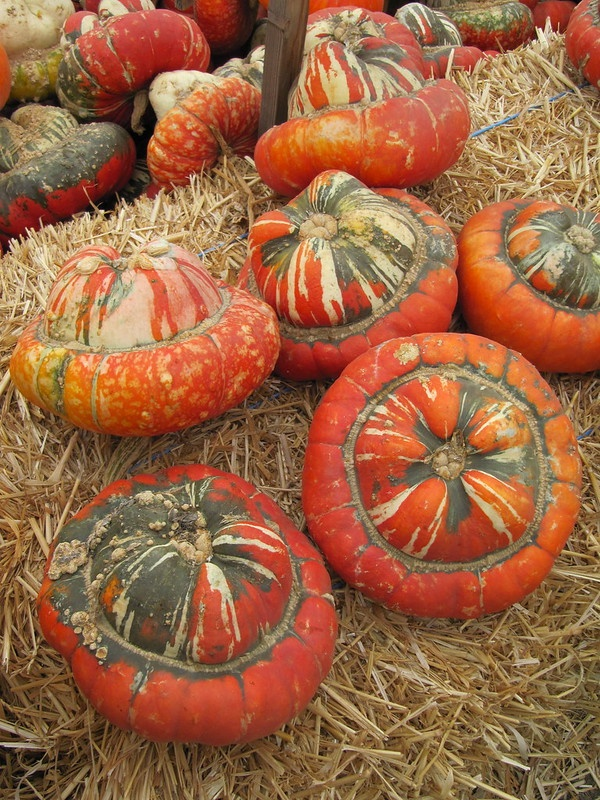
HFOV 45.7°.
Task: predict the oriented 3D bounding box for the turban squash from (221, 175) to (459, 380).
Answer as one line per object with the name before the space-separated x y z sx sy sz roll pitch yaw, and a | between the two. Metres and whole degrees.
turban squash | 0.133 -0.277 1.750 0.541 0.201 0.488 -23 74 -4

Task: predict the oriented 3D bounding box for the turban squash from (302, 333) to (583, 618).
turban squash | 0.296 0.149 1.491 0.567 0.298 0.532 1 52 0

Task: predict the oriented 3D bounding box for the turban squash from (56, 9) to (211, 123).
turban squash | -0.533 -1.119 2.526 0.438 0.252 0.436 10 40 45

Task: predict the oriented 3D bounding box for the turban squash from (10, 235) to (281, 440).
turban squash | -0.405 -0.171 1.601 0.637 0.325 0.608 -13 35 -29
